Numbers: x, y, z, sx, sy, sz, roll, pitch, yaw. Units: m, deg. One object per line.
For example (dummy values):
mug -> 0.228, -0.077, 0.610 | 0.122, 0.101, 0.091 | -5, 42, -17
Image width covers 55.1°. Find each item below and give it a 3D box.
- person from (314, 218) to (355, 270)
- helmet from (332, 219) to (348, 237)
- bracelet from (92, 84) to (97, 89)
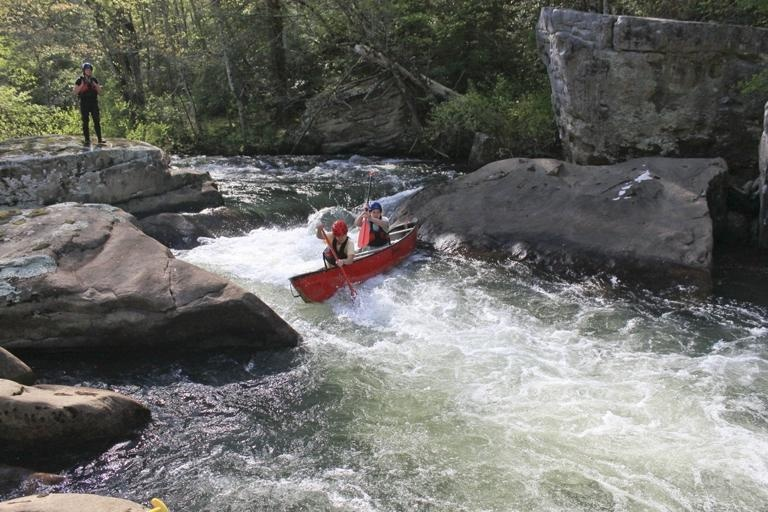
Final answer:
person -> -1.199, -0.249, 17.862 | 0.859, 1.236, 0.708 | 21, 53, 4
helmet -> -1.000, -0.674, 16.899 | 0.305, 0.368, 0.353 | -7, -11, -3
bracelet -> -7.335, -4.330, 18.784 | 0.061, 0.098, 0.158 | -1, 16, 15
